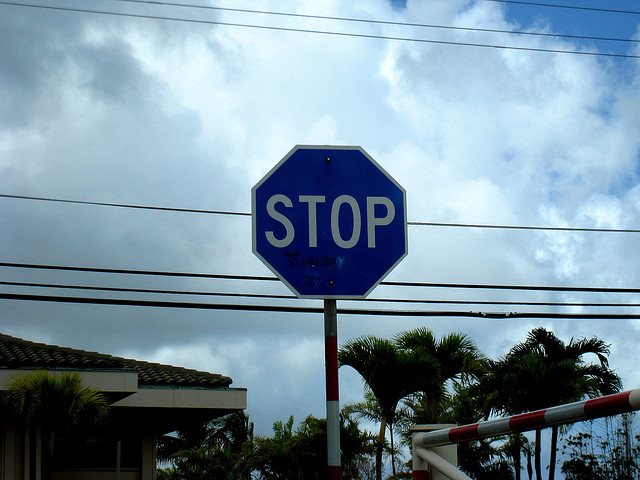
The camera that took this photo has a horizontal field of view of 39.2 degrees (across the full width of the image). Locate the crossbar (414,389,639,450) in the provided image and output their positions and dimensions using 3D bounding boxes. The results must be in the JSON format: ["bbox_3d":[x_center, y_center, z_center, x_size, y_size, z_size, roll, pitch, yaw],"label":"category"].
[{"bbox_3d":[2.388,2.097,10.412,2.563,0.381,0.280,-12,-19,24],"label":"crossbar"}]
